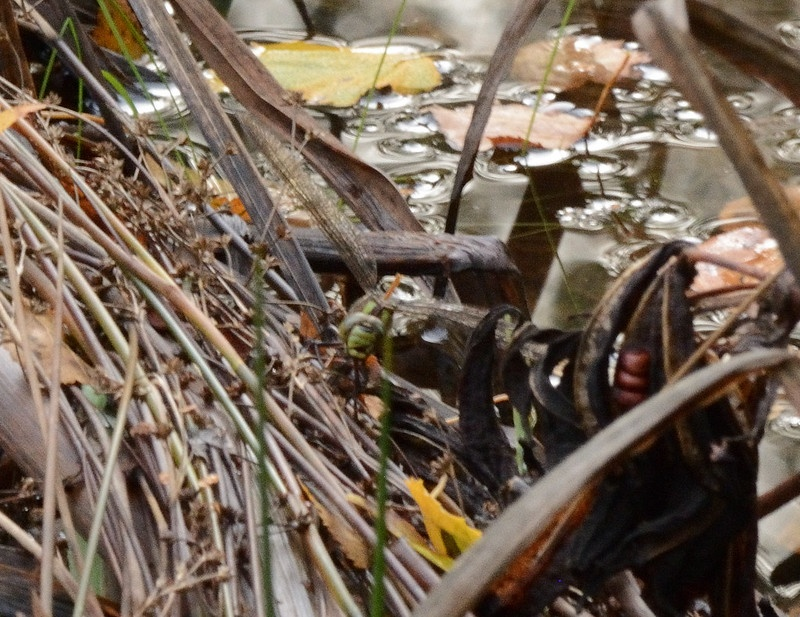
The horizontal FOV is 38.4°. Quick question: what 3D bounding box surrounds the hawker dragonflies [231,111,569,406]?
[{"bbox_3d":[-0.001,0.015,1.207,0.098,0.486,0.088,-24,11,42],"label":"hawker dragonflies"}]
